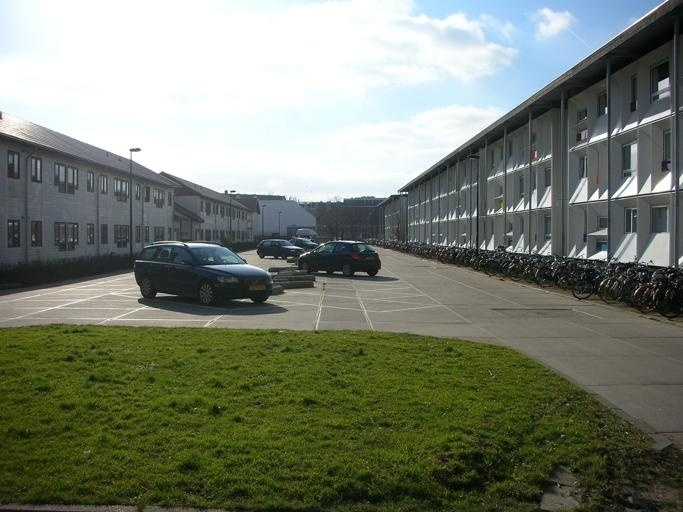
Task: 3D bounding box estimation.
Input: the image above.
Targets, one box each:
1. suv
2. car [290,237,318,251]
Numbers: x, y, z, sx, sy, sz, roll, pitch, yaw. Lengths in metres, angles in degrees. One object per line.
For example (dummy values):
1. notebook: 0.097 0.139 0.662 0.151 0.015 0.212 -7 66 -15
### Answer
1. suv: -4.167 0.505 15.442 3.830 1.547 1.803 -3 -2 37
2. car: -3.779 -1.272 54.917 1.710 1.543 3.665 -3 2 -44
